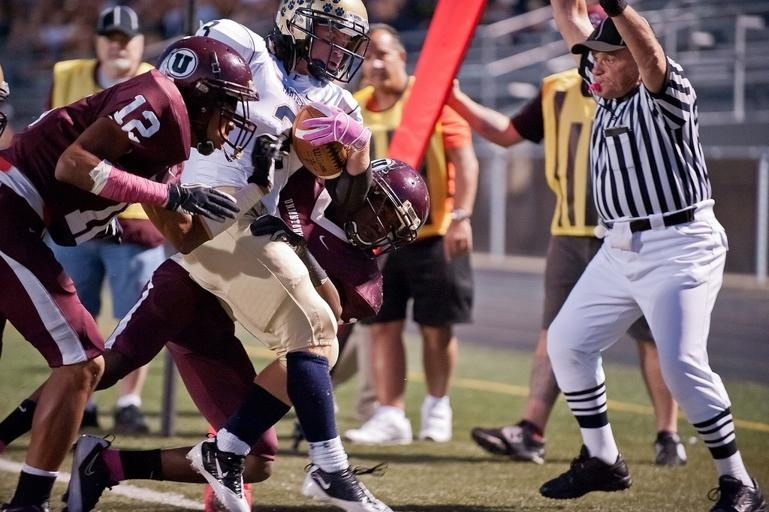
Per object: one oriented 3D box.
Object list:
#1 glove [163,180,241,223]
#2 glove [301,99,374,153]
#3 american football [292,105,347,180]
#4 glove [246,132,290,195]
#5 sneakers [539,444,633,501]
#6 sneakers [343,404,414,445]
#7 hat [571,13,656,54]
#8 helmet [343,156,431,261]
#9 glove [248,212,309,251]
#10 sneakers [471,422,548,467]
[{"bbox_3d":[-0.843,-0.247,4.997,0.273,0.168,0.097,9,-17,-24],"label":"glove"},{"bbox_3d":[-0.230,-0.587,5.142,0.274,0.195,0.118,12,21,3],"label":"glove"},{"bbox_3d":[-0.299,-0.502,5.233,0.203,0.345,0.241,-1,41,33],"label":"american football"},{"bbox_3d":[-0.559,-0.445,5.200,0.095,0.271,0.198,24,-6,-2],"label":"glove"},{"bbox_3d":[1.046,1.137,5.733,0.552,0.289,0.203,-3,5,-2],"label":"sneakers"},{"bbox_3d":[-0.020,1.074,6.802,0.490,0.242,0.178,2,-4,-9],"label":"sneakers"},{"bbox_3d":[1.076,-1.115,5.578,0.157,0.174,0.369,-1,7,-23],"label":"hat"},{"bbox_3d":[0.020,-0.230,5.580,0.400,0.353,0.470,-31,15,4],"label":"helmet"},{"bbox_3d":[-0.507,-0.112,5.253,0.301,0.108,0.126,34,-25,-15],"label":"glove"},{"bbox_3d":[0.751,1.085,6.401,0.476,0.254,0.184,12,-32,3],"label":"sneakers"}]
